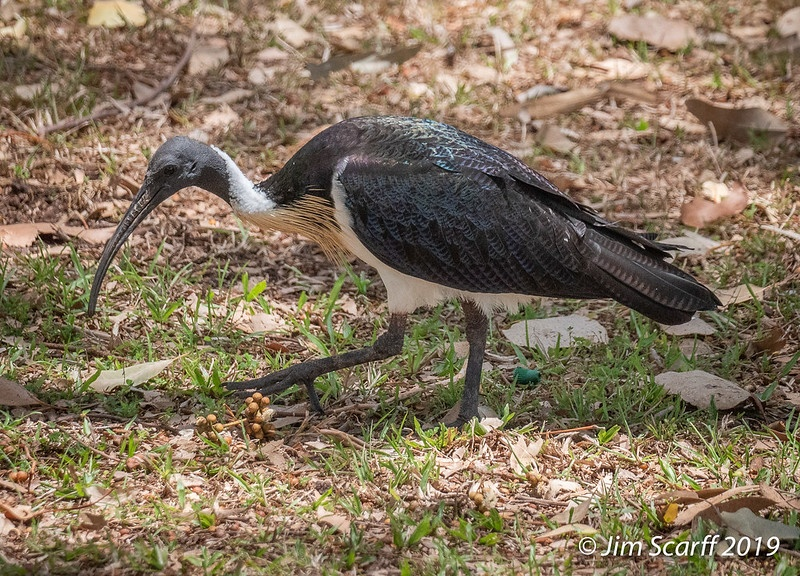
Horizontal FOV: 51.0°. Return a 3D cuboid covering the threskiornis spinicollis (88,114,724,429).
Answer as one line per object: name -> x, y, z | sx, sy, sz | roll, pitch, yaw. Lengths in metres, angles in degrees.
threskiornis spinicollis -> 0.137, -0.118, 4.648 | 3.099, 1.557, 0.833 | 4, 20, 11

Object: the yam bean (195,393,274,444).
yam bean -> -0.760, 0.653, 4.235 | 0.436, 0.215, 0.214 | -8, -16, 26
